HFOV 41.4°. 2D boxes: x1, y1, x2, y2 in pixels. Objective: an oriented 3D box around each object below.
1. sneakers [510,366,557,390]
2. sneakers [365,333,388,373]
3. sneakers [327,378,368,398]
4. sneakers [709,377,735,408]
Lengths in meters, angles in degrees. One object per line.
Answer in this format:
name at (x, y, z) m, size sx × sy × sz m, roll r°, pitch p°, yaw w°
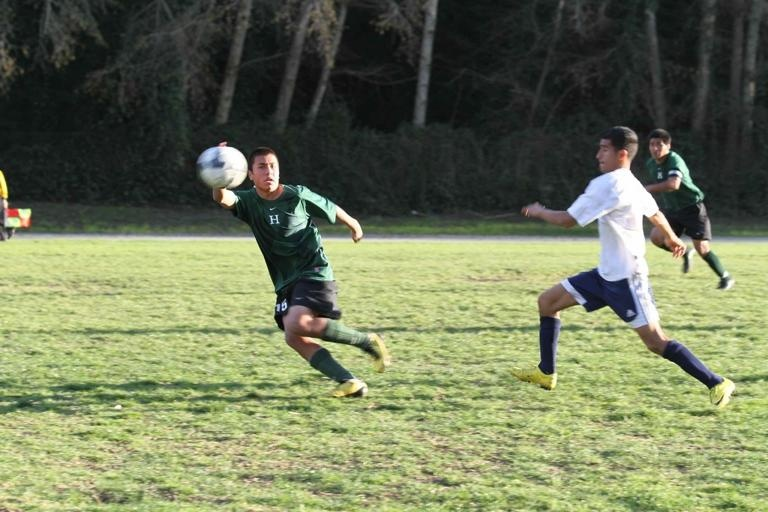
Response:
sneakers at (1.730, 1.374, 11.435) m, size 0.577 × 0.175 × 0.190 m, roll 14°, pitch 3°, yaw 23°
sneakers at (-0.072, 1.099, 11.587) m, size 0.156 × 0.408 × 0.286 m, roll -22°, pitch 11°, yaw 6°
sneakers at (-0.400, 1.450, 11.029) m, size 0.388 × 0.102 × 0.200 m, roll -4°, pitch 1°, yaw -11°
sneakers at (3.579, 1.456, 10.788) m, size 0.256 × 0.368 × 0.167 m, roll 10°, pitch 45°, yaw 0°
